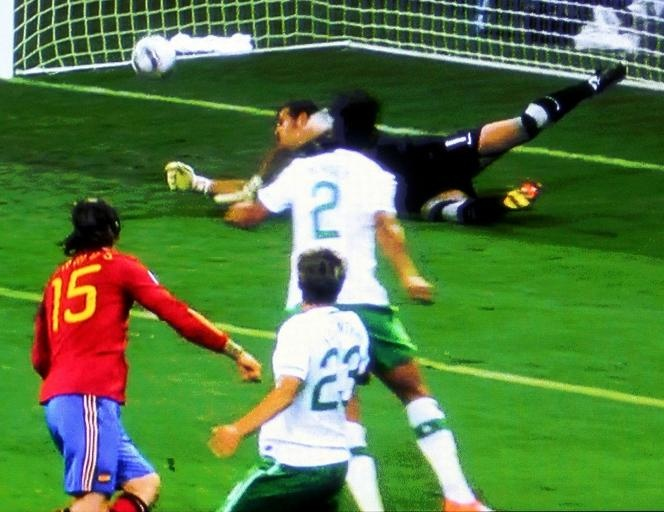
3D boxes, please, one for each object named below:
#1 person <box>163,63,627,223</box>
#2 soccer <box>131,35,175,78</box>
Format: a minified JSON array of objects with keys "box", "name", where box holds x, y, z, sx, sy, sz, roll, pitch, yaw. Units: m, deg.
[{"box":[0.364,-0.594,7.840,3.277,0.806,1.030,-6,12,27],"name":"person"},{"box":[-1.289,-1.390,8.665,0.339,0.276,0.317,7,7,34],"name":"soccer"}]
